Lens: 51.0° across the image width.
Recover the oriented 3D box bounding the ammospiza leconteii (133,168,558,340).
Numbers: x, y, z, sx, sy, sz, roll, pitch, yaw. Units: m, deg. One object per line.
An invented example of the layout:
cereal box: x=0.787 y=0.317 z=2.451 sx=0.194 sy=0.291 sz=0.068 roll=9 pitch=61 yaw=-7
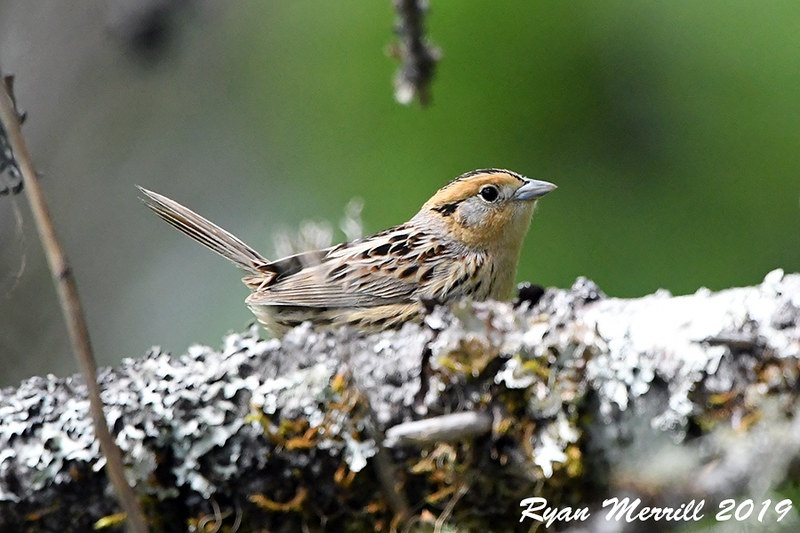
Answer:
ammospiza leconteii: x=-0.266 y=0.070 z=4.242 sx=1.872 sy=1.150 sz=0.666 roll=1 pitch=2 yaw=1
